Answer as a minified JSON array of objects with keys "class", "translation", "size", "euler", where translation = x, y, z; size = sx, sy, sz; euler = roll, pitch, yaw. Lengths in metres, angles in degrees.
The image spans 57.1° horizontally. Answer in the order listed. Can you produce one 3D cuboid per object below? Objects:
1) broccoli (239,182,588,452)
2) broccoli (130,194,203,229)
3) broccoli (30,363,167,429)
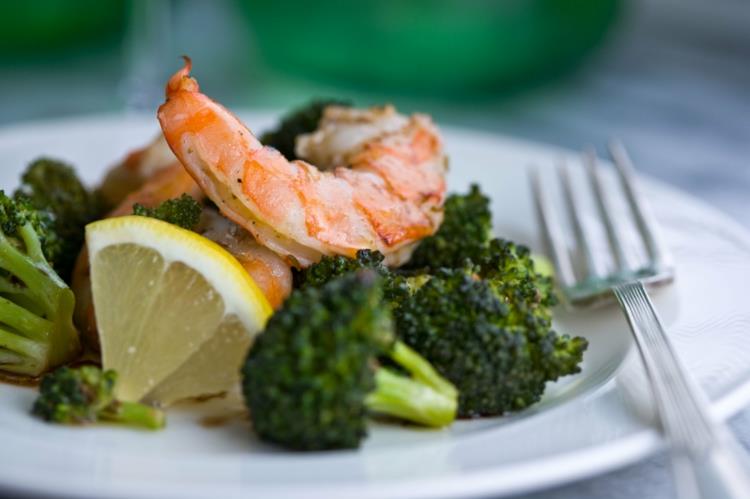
[{"class":"broccoli","translation":[0.122,0.218,1.834],"size":[0.533,0.305,0.705],"euler":[7,28,12]},{"class":"broccoli","translation":[-0.575,-0.095,1.912],"size":[0.161,0.095,0.098],"euler":[4,88,7]},{"class":"broccoli","translation":[-0.619,0.346,1.579],"size":[0.235,0.146,0.127],"euler":[14,70,4]}]
